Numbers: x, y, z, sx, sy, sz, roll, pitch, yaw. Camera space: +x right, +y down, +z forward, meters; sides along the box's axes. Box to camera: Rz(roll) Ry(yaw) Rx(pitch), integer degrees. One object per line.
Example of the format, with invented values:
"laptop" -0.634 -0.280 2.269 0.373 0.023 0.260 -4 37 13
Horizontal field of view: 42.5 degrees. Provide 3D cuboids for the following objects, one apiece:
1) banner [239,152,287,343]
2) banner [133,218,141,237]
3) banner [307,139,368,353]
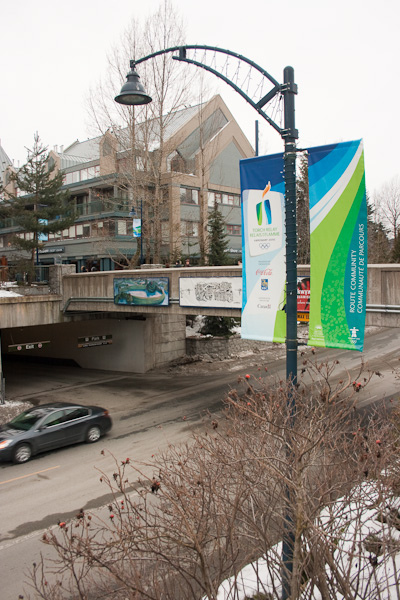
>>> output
"banner" 0.915 -0.718 7.334 0.844 2.677 0.062 4 11 36
"banner" -2.859 -3.364 23.493 0.324 0.793 1.155 -3 1 -4
"banner" 1.879 -0.716 7.097 0.793 2.260 0.628 -3 1 13
